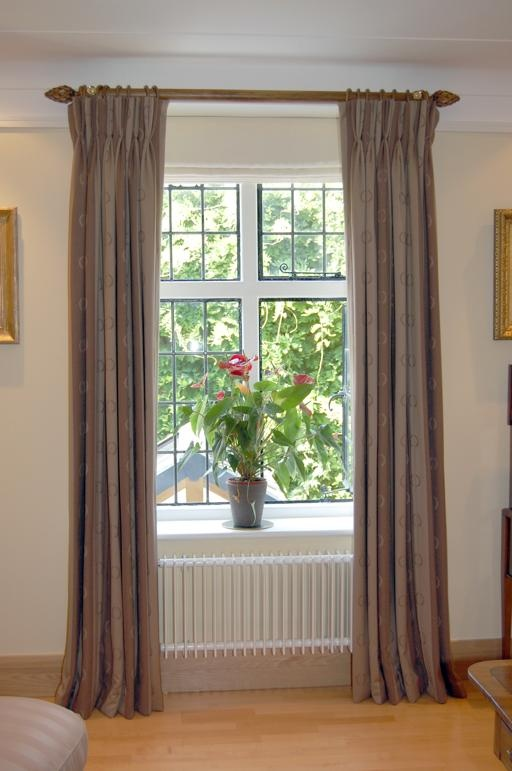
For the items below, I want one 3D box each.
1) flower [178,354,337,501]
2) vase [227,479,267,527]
[{"bbox_3d":[0.019,0.183,3.048,0.634,0.643,0.473,0,7,0],"label":"flower"},{"bbox_3d":[-0.038,0.462,2.984,0.156,0.208,0.175,0,-3,-1],"label":"vase"}]
